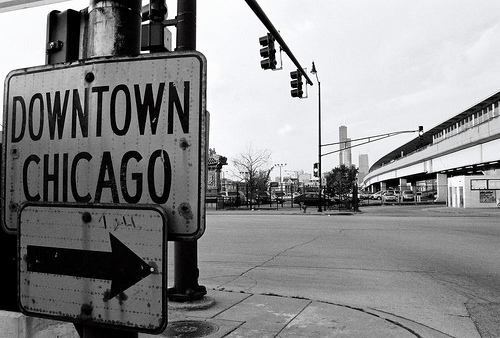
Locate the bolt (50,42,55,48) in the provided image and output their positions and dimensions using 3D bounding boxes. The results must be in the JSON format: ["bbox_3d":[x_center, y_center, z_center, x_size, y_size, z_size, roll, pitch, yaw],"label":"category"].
[{"bbox_3d":[-1.938,-1.215,5.353,0.043,0.061,0.009,-1,-6,-6],"label":"bolt"}]

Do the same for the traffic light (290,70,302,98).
[{"bbox_3d":[1.588,-2.847,18.536,0.365,0.903,0.910,-2,-6,6],"label":"traffic light"}]

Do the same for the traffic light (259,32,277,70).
[{"bbox_3d":[0.495,-3.140,14.615,0.412,0.881,1.123,-2,-6,2],"label":"traffic light"}]

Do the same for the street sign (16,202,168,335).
[{"bbox_3d":[-1.345,0.829,4.769,0.983,0.859,0.146,2,1,9],"label":"street sign"}]

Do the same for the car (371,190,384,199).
[{"bbox_3d":[16.096,3.396,69.627,1.982,1.135,1.367,2,-2,42],"label":"car"}]

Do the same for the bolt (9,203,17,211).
[{"bbox_3d":[-2.162,0.351,4.971,0.049,0.105,0.052,2,1,27],"label":"bolt"}]

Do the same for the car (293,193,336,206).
[{"bbox_3d":[5.346,2.555,45.381,2.739,1.072,1.356,-2,-1,5],"label":"car"}]

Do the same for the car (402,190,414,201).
[{"bbox_3d":[17.869,2.921,61.241,0.885,0.919,1.844,-1,-4,15],"label":"car"}]

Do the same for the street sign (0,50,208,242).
[{"bbox_3d":[-1.215,-0.165,4.799,1.442,1.436,0.213,-1,-1,14],"label":"street sign"}]

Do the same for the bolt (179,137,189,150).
[{"bbox_3d":[-0.570,-0.217,4.716,0.057,0.100,0.037,-3,6,-6],"label":"bolt"}]

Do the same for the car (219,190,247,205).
[{"bbox_3d":[-1.703,3.274,58.493,2.390,1.489,1.539,-4,1,-5],"label":"car"}]
